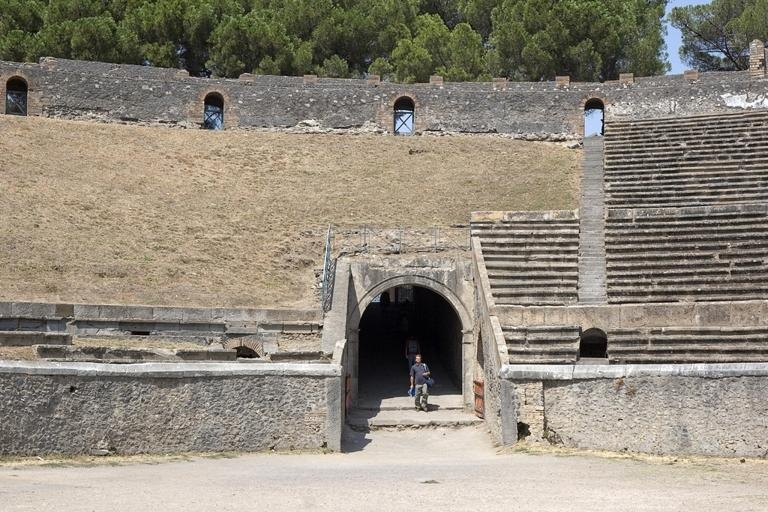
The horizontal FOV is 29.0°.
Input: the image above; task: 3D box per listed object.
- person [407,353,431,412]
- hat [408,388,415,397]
[{"bbox_3d":[1.187,4.141,48.496,0.712,1.813,0.692,-3,8,1],"label":"person"},{"bbox_3d":[0.907,4.528,48.661,0.272,0.294,0.133,4,1,11],"label":"hat"}]
